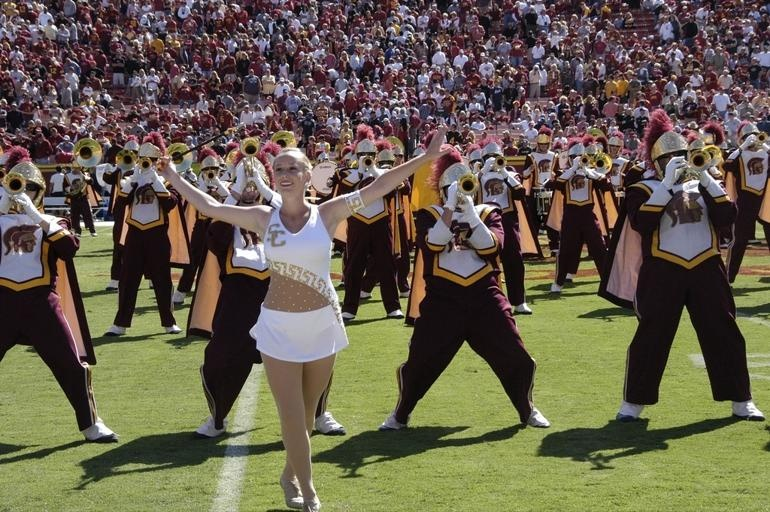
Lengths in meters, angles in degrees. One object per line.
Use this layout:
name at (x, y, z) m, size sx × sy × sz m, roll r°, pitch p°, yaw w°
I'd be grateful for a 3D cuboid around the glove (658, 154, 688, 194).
glove at (2.556, -0.741, 8.701) m, size 0.202 × 0.280 × 0.279 m, roll 3°, pitch 15°, yaw 17°

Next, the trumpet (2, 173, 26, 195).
trumpet at (-3.247, -0.635, 8.480) m, size 0.248 × 0.156 × 0.125 m, roll 6°, pitch 16°, yaw 25°

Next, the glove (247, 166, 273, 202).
glove at (-1.138, -0.640, 9.039) m, size 0.217 × 0.311 × 0.440 m, roll -6°, pitch 15°, yaw -16°

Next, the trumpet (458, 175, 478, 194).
trumpet at (0.723, -0.598, 8.453) m, size 0.164 × 0.154 × 0.175 m, roll 36°, pitch 3°, yaw 4°

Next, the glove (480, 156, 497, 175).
glove at (1.311, -1.167, 12.700) m, size 0.165 × 0.198 × 0.185 m, roll 26°, pitch 18°, yaw 15°

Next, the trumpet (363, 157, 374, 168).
trumpet at (-0.239, -1.229, 12.769) m, size 0.133 × 0.119 × 0.117 m, roll -2°, pitch 6°, yaw -6°

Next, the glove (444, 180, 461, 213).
glove at (0.577, -0.520, 8.534) m, size 0.137 × 0.284 × 0.275 m, roll 0°, pitch 14°, yaw 3°

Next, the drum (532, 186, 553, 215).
drum at (2.789, -0.953, 17.535) m, size 0.502 × 0.586 × 0.422 m, roll 0°, pitch 36°, yaw 7°

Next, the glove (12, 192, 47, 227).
glove at (-3.076, -0.393, 8.442) m, size 0.230 × 0.316 × 0.338 m, roll -10°, pitch 17°, yaw -29°

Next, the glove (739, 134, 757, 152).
glove at (4.978, -1.568, 13.462) m, size 0.237 × 0.260 × 0.410 m, roll 4°, pitch 15°, yaw 18°

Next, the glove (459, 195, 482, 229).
glove at (0.731, -0.403, 8.539) m, size 0.190 × 0.300 × 0.280 m, roll 0°, pitch 15°, yaw 6°

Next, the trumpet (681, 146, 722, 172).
trumpet at (2.894, -0.903, 9.049) m, size 0.342 × 0.266 × 0.491 m, roll -6°, pitch 0°, yaw 19°

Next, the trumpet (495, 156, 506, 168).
trumpet at (1.468, -1.219, 12.725) m, size 0.148 × 0.136 × 0.153 m, roll 8°, pitch -11°, yaw -6°
